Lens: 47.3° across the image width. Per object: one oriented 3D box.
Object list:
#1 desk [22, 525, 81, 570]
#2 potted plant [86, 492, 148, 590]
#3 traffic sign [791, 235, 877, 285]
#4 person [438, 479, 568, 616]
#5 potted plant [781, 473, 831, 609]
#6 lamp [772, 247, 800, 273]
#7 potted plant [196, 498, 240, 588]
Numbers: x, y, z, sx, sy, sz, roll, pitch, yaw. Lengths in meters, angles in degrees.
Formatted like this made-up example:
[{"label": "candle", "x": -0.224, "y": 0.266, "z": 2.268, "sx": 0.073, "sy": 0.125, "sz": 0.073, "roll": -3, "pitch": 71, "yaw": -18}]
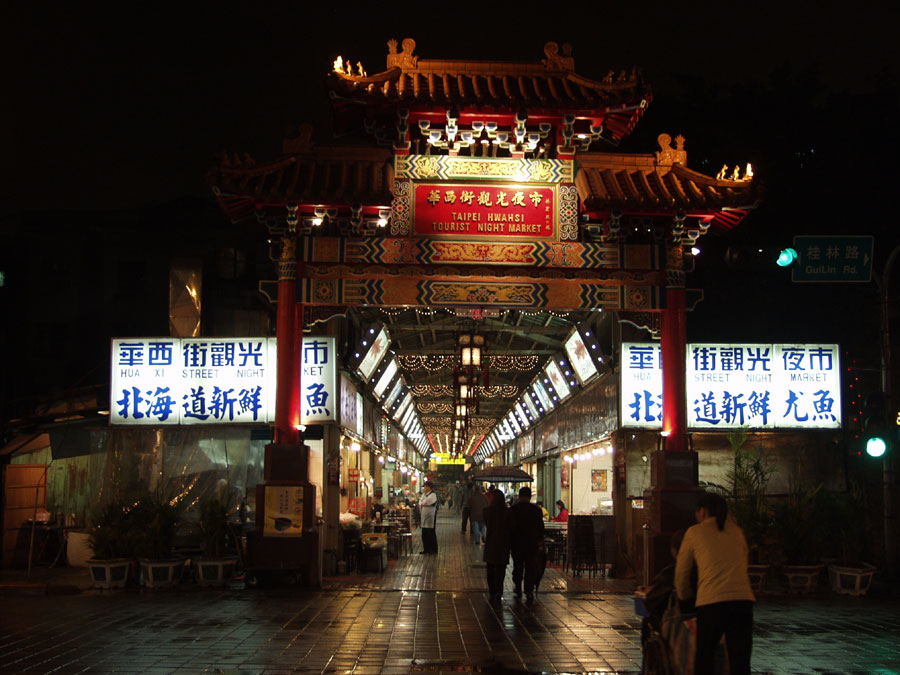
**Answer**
[{"label": "desk", "x": -8.571, "y": 4.422, "z": 21.850, "sx": 1.066, "sy": 1.012, "sz": 0.898, "roll": 8, "pitch": -15, "yaw": -36}, {"label": "potted plant", "x": -6.206, "y": 3.726, "z": 19.009, "sx": 1.017, "sy": 1.748, "sz": 0.951, "roll": 5, "pitch": -16, "yaw": -29}, {"label": "traffic sign", "x": 7.251, "y": -1.491, "z": 19.423, "sx": 1.437, "sy": 1.044, "sz": 0.048, "roll": 2, "pitch": 35, "yaw": 19}, {"label": "person", "x": 1.134, "y": 3.589, "z": 18.046, "sx": 1.144, "sy": 1.927, "sz": 1.376, "roll": 1, "pitch": -9, "yaw": -15}, {"label": "potted plant", "x": 6.517, "y": 3.600, "z": 18.931, "sx": 0.865, "sy": 2.163, "sz": 0.809, "roll": 6, "pitch": -6, "yaw": -31}, {"label": "lamp", "x": 6.636, "y": -1.527, "z": 20.045, "sx": 0.410, "sy": 0.434, "sz": 0.126, "roll": -24, "pitch": -11, "yaw": 29}, {"label": "potted plant", "x": -4.279, "y": 3.794, "z": 18.966, "sx": 0.733, "sy": 1.526, "sz": 0.512, "roll": 1, "pitch": -9, "yaw": -15}]
